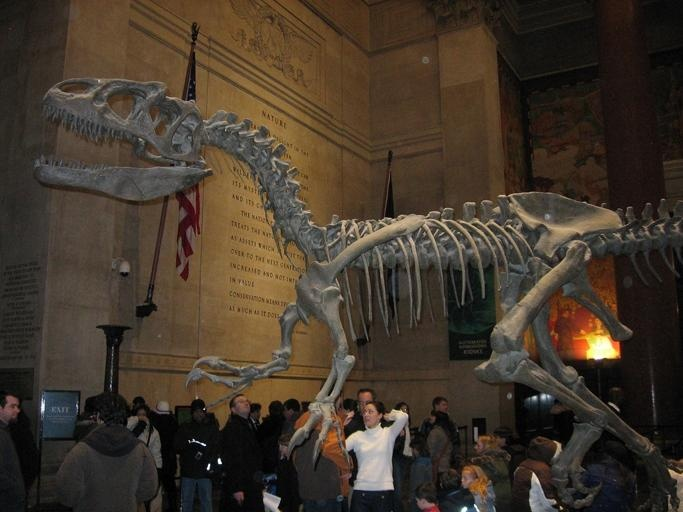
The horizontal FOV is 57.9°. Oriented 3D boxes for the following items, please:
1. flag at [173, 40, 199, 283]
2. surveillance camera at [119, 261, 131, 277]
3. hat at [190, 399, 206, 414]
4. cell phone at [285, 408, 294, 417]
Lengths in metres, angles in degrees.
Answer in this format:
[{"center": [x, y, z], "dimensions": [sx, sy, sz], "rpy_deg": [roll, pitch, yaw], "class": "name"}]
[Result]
[{"center": [-2.633, -1.904, 10.821], "dimensions": [0.395, 4.575, 1.552], "rpy_deg": [3, -13, -15], "class": "flag"}, {"center": [-3.515, 0.221, 10.120], "dimensions": [0.187, 0.252, 0.260], "rpy_deg": [6, -17, -26], "class": "surveillance camera"}, {"center": [-1.809, 1.877, 7.781], "dimensions": [0.238, 0.186, 0.341], "rpy_deg": [2, -9, -21], "class": "hat"}, {"center": [-0.664, 1.984, 7.752], "dimensions": [0.113, 0.110, 0.087], "rpy_deg": [-17, -8, 21], "class": "cell phone"}]
